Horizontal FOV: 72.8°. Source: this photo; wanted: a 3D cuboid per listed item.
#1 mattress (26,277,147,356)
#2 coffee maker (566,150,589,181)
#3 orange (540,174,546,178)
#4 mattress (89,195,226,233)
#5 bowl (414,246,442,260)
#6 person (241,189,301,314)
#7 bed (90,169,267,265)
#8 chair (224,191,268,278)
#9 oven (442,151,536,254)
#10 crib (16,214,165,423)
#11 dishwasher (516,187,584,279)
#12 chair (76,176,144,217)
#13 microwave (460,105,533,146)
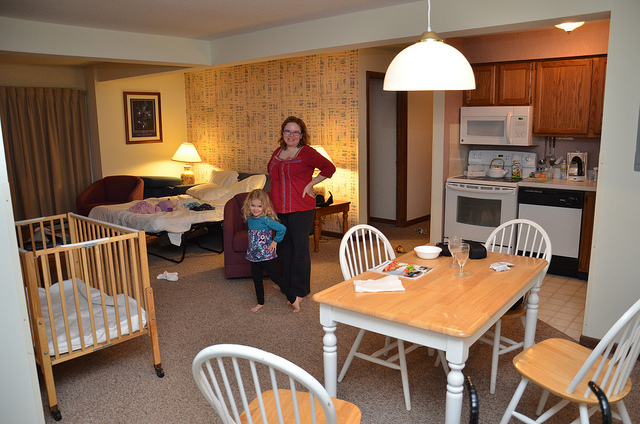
[{"bbox_3d":[-1.974,0.845,3.651,0.734,0.152,0.715,-10,22,-41],"label":"mattress"},{"bbox_3d":[3.203,-0.575,5.424,0.211,0.337,0.255,4,14,25],"label":"coffee maker"},{"bbox_3d":[2.925,-0.478,5.701,0.050,0.047,0.049,-8,15,14],"label":"orange"},{"bbox_3d":[-2.236,-0.002,6.093,0.980,0.209,0.998,11,12,41],"label":"mattress"},{"bbox_3d":[0.876,0.324,3.524,0.238,0.079,0.150,-4,12,-7],"label":"bowl"},{"bbox_3d":[-0.506,0.403,4.507,0.546,1.302,0.310,-3,13,-1],"label":"person"},{"bbox_3d":[-1.828,-0.061,6.438,1.512,0.820,1.915,7,9,44],"label":"bed"},{"bbox_3d":[-1.053,0.313,5.393,0.322,0.931,0.615,-5,13,-10],"label":"chair"},{"bbox_3d":[2.100,0.051,5.932,1.036,1.399,0.996,7,-15,1],"label":"oven"},{"bbox_3d":[-1.896,0.753,3.645,0.927,1.330,1.105,-11,15,-34],"label":"crib"},{"bbox_3d":[3.012,0.121,5.580,0.919,1.055,0.899,-1,18,15],"label":"dishwasher"},{"bbox_3d":[-3.435,-0.368,7.350,0.931,0.884,0.797,0,2,-1],"label":"chair"},{"bbox_3d":[2.299,-1.153,5.710,0.853,0.537,0.571,5,8,34],"label":"microwave"}]
